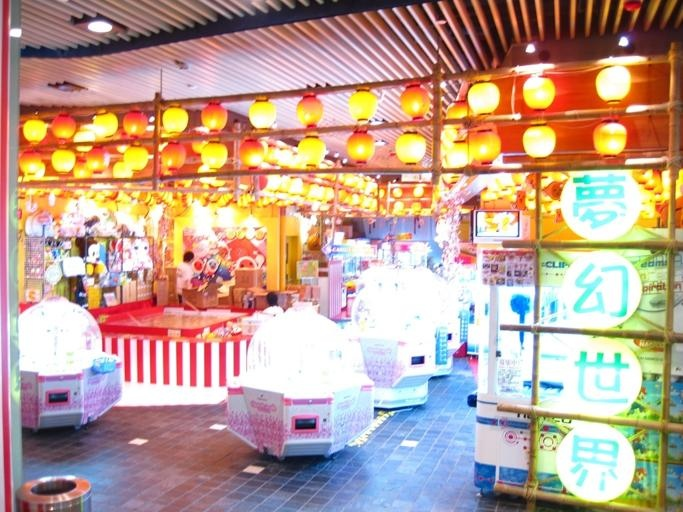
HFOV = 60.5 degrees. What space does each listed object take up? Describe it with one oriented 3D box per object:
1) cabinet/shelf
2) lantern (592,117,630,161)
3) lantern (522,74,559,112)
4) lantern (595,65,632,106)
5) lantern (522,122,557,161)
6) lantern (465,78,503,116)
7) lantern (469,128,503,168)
[{"bbox_3d":[-5.876,0.335,13.706,0.460,1.847,3.799,3,1,21],"label":"cabinet/shelf"},{"bbox_3d":[2.680,-1.186,5.760,0.319,0.412,0.311,-5,11,-36],"label":"lantern"},{"bbox_3d":[1.996,-1.658,5.921,0.275,0.359,0.326,2,5,17],"label":"lantern"},{"bbox_3d":[2.652,-1.675,5.696,0.356,0.408,0.382,3,-4,2],"label":"lantern"},{"bbox_3d":[1.996,-1.142,5.905,0.313,0.421,0.337,2,-8,4],"label":"lantern"},{"bbox_3d":[1.488,-1.628,6.108,0.346,0.370,0.374,4,5,26],"label":"lantern"},{"bbox_3d":[1.520,-1.143,6.125,0.390,0.392,0.381,-3,6,-43],"label":"lantern"}]
